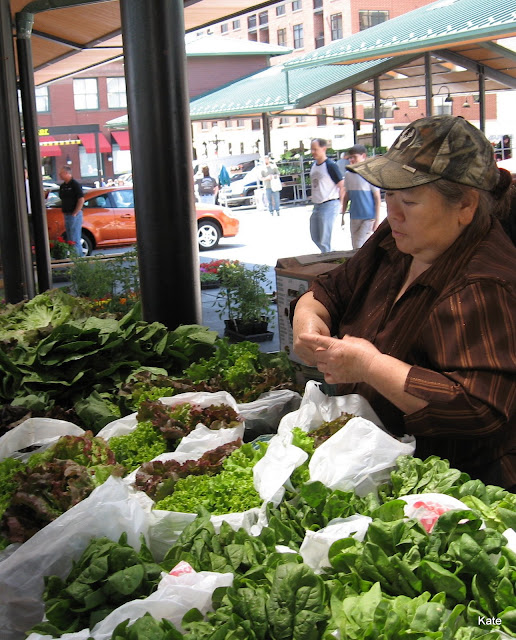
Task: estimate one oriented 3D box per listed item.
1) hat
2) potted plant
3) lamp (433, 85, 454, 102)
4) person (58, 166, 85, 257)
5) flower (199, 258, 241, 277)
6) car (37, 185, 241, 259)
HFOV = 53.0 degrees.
[{"bbox_3d":[0.494,-0.489,1.595,0.394,0.177,0.262,9,8,3],"label":"hat"},{"bbox_3d":[-0.217,-0.259,7.016,0.979,1.050,0.775,-14,33,-20],"label":"potted plant"},{"bbox_3d":[3.273,-3.961,9.115,0.256,0.394,0.422,1,11,33],"label":"lamp"},{"bbox_3d":[-2.699,-1.568,7.539,0.340,1.209,0.561,-9,10,-17],"label":"person"},{"bbox_3d":[-0.802,-0.881,8.781,0.536,0.221,0.533,-3,-2,-17],"label":"flower"},{"bbox_3d":[-1.875,-1.701,9.536,3.830,1.041,1.484,-7,11,-17],"label":"car"}]
